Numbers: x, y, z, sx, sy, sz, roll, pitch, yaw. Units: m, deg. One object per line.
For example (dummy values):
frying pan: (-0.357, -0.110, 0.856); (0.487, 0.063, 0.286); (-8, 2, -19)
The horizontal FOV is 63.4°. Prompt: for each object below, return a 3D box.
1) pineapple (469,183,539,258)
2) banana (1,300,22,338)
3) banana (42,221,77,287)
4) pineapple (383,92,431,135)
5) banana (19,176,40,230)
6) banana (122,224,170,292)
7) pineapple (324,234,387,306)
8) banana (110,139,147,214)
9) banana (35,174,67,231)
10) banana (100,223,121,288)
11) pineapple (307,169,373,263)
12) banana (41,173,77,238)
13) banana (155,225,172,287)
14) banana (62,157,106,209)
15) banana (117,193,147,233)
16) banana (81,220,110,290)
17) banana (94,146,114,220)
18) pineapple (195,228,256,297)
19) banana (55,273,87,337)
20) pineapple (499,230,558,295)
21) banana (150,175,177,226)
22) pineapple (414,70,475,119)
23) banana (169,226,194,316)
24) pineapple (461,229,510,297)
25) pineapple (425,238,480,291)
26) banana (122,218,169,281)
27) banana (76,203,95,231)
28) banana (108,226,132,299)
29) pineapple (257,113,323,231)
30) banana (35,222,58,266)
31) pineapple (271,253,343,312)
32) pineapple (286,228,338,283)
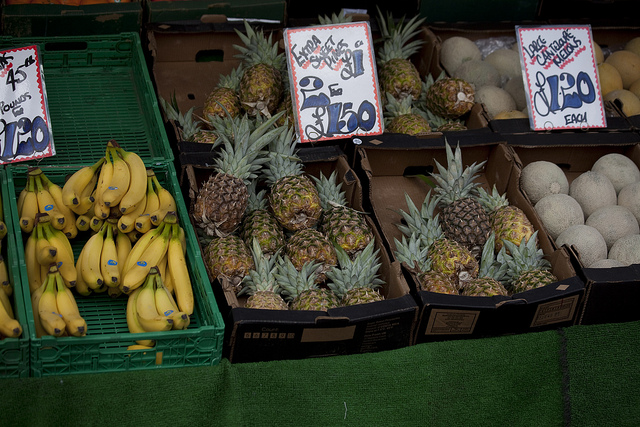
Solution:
pineapple: (1.525, 0.015, 4.296); (0.247, 0.599, 0.229); (7, -38, -22)
banana: (-1.774, 0.590, 2.969); (0.064, 0.080, 0.233); (-14, 51, -33)
banana: (-1.647, 0.259, 3.247); (0.111, 0.412, 0.143); (-24, -4, 8)
pineapple: (0.800, -0.937, 4.864); (0.285, 0.261, 0.527); (19, 27, -14)
banana: (-1.900, -0.067, 3.438); (0.085, 0.321, 0.109); (0, -17, 5)
banana: (-1.107, 0.313, 3.370); (0.117, 0.143, 0.451); (22, 64, 31)
pineapple: (0.262, 0.536, 3.725); (0.304, 0.580, 0.296); (-14, -14, -15)
banana: (-1.465, -0.292, 3.793); (0.124, 0.222, 0.499); (-15, -22, -30)
banana: (-1.824, -0.060, 3.471); (0.107, 0.149, 0.458); (-29, 63, -29)
banana: (-1.337, 0.270, 3.375); (0.099, 0.418, 0.141); (2, -34, -18)
pineapple: (0.154, 0.041, 3.952); (0.404, 0.338, 0.698); (24, 33, -33)
banana: (-1.859, -0.060, 3.534); (0.129, 0.164, 0.481); (-17, 55, -38)
banana: (-1.042, 0.295, 3.464); (0.072, 0.365, 0.097); (8, 8, -4)
banana: (-1.593, -0.204, 3.513); (0.158, 0.109, 0.471); (-6, 40, 53)
banana: (-1.285, 0.015, 3.535); (0.085, 0.307, 0.098); (31, -11, 0)
banana: (-1.459, 0.257, 3.342); (0.111, 0.430, 0.142); (18, -35, -21)
banana: (-1.417, -0.214, 3.519); (0.097, 0.462, 0.159); (2, -16, -2)
pineapple: (-0.661, 0.207, 3.751); (0.382, 0.699, 0.343); (0, 29, -12)
banana: (-1.487, 0.542, 3.053); (0.110, 0.153, 0.448); (-24, 51, -30)
pineapple: (1.571, 0.380, 3.915); (0.234, 0.204, 0.394); (-24, 23, 24)
banana: (-1.099, -0.083, 3.618); (0.109, 0.222, 0.338); (-16, 42, 11)
pineapple: (1.192, -1.117, 4.938); (0.283, 0.319, 0.455); (-21, 13, -10)
banana: (-0.917, 0.396, 3.387); (0.118, 0.667, 0.156); (-9, -17, -4)
pineapple: (1.298, 0.475, 3.920); (0.250, 0.577, 0.259); (16, -4, -35)
pineapple: (1.000, 0.391, 3.924); (0.383, 0.366, 0.233); (-5, 7, 14)
banana: (-1.137, 0.237, 3.394); (0.100, 0.417, 0.151); (39, -4, -15)
banana: (-1.593, 0.015, 3.570); (0.061, 0.096, 0.195); (-20, 37, 45)
banana: (-1.371, 0.324, 3.456); (0.156, 0.447, 0.115); (1, -17, 23)
pineapple: (-0.244, -0.298, 4.026); (0.483, 0.438, 0.862); (-6, 43, -4)
banana: (-1.706, 0.195, 3.207); (0.107, 0.199, 0.312); (-4, 41, -34)
pineapple: (-0.065, 0.491, 3.598); (0.427, 0.362, 0.563); (-9, 8, -19)
pineapple: (-0.059, 0.317, 3.790); (0.235, 0.229, 0.322); (36, 7, -23)
